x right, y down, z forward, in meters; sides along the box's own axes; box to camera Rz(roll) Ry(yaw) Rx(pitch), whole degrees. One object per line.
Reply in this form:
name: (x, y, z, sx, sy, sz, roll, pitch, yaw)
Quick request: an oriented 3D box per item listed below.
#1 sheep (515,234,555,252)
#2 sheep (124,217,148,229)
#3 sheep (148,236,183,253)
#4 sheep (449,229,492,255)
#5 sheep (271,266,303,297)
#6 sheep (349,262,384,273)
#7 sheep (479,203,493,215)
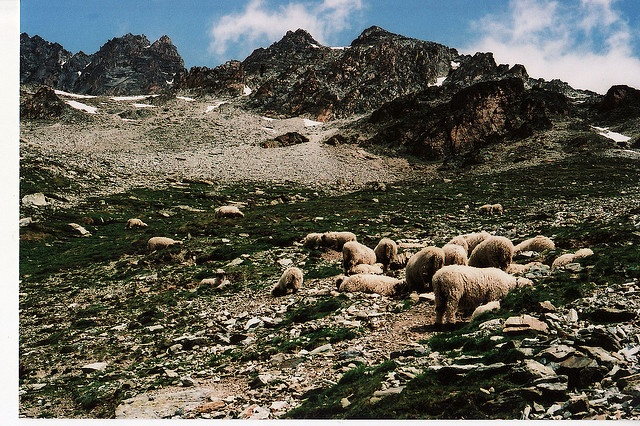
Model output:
sheep: (9.253, 1.307, 24.289, 1.398, 0.473, 0.762, -4, -7, 10)
sheep: (-9.859, 0.579, 30.347, 1.092, 0.456, 0.544, -3, 14, -15)
sheep: (-7.578, 1.502, 27.408, 1.509, 0.563, 0.759, -6, 15, -26)
sheep: (6.378, 1.251, 24.567, 1.966, 0.882, 0.774, -8, -29, 14)
sheep: (-1.299, 2.893, 23.550, 0.847, 0.826, 1.539, 26, -52, -27)
sheep: (2.035, 2.410, 24.094, 1.435, 0.594, 0.492, -1, 5, -11)
sheep: (10.077, -0.202, 34.277, 0.831, 0.460, 0.893, 5, 14, 18)
